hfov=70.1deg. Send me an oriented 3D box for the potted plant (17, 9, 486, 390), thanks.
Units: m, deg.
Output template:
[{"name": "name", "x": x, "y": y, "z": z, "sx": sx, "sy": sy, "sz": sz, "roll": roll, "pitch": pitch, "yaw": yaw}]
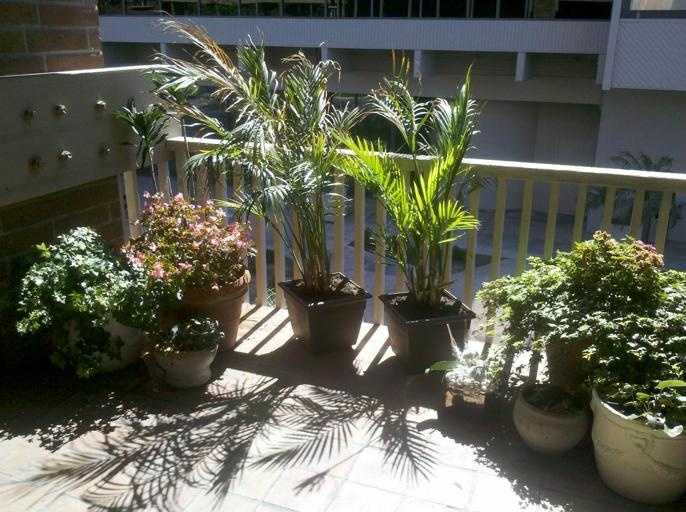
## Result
[{"name": "potted plant", "x": -0.315, "y": -0.379, "z": 3.038, "sx": 2.299, "sy": 1.807, "sz": 1.668, "roll": 9, "pitch": 18, "yaw": 16}]
